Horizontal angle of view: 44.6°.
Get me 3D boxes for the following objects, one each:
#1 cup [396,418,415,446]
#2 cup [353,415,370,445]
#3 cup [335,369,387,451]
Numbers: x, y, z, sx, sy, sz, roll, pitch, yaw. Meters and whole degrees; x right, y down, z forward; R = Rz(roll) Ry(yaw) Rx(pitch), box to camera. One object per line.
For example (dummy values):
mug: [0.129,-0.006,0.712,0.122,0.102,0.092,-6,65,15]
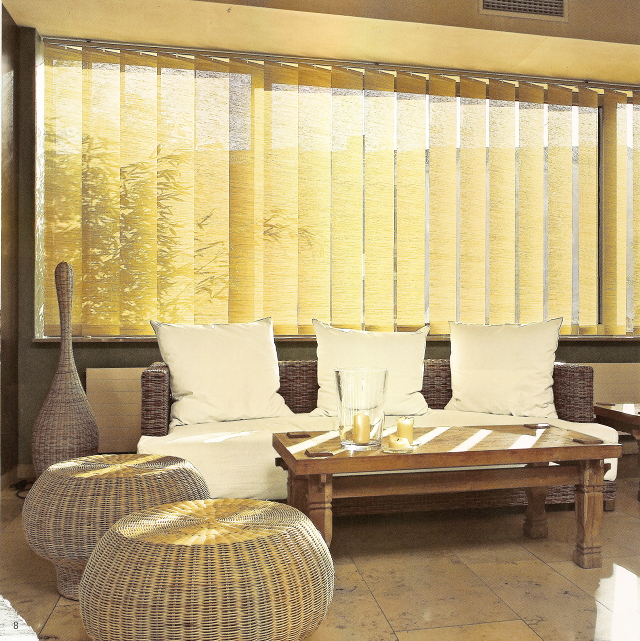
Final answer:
cup: [0.281,0.373,2.597,0.051,0.081,0.087,-1,6,2]
cup: [0.134,0.362,2.588,0.057,0.095,0.034,-1,8,1]
cup: [0.139,0.290,2.637,0.166,0.251,0.203,-1,7,1]
